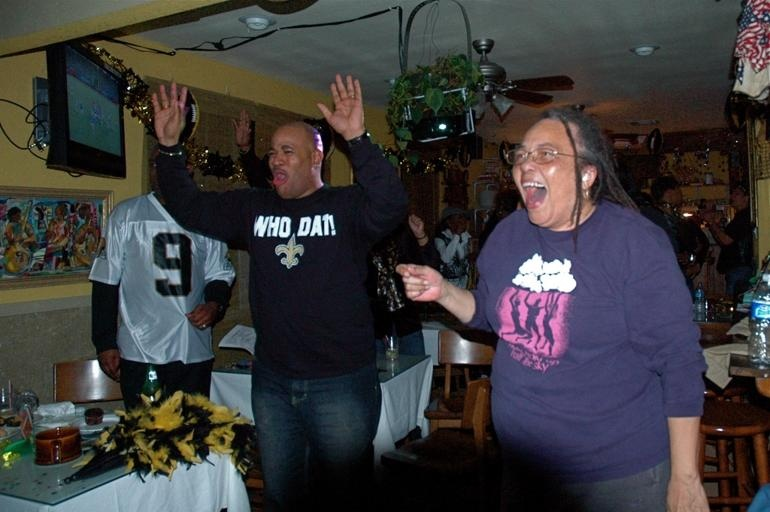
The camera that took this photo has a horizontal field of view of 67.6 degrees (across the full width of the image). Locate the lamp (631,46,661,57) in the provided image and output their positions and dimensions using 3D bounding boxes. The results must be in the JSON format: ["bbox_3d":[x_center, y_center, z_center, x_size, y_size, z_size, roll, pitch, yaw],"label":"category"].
[{"bbox_3d":[2.696,-2.112,5.933,0.199,0.055,0.097,2,-21,-2],"label":"lamp"}]

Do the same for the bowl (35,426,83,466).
[{"bbox_3d":[-1.594,0.925,2.793,0.198,0.115,0.246,0,3,-16],"label":"bowl"}]

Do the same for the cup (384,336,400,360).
[{"bbox_3d":[0.042,0.699,4.368,0.154,0.218,0.146,-1,-9,0],"label":"cup"}]

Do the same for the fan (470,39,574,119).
[{"bbox_3d":[1.211,-1.582,5.247,1.035,0.362,0.977,-1,-12,3],"label":"fan"}]

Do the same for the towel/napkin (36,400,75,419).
[{"bbox_3d":[-1.851,0.857,3.230,0.145,0.040,0.106,2,-2,-5],"label":"towel/napkin"}]

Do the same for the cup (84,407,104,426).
[{"bbox_3d":[-1.559,0.856,3.086,0.086,0.050,0.078,0,13,-28],"label":"cup"}]

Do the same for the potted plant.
[{"bbox_3d":[0.455,-1.003,4.221,0.707,0.659,0.546,4,-21,15],"label":"potted plant"}]

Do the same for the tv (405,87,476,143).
[{"bbox_3d":[0.418,-0.958,4.146,0.483,0.253,0.475,-3,13,31],"label":"tv"}]
